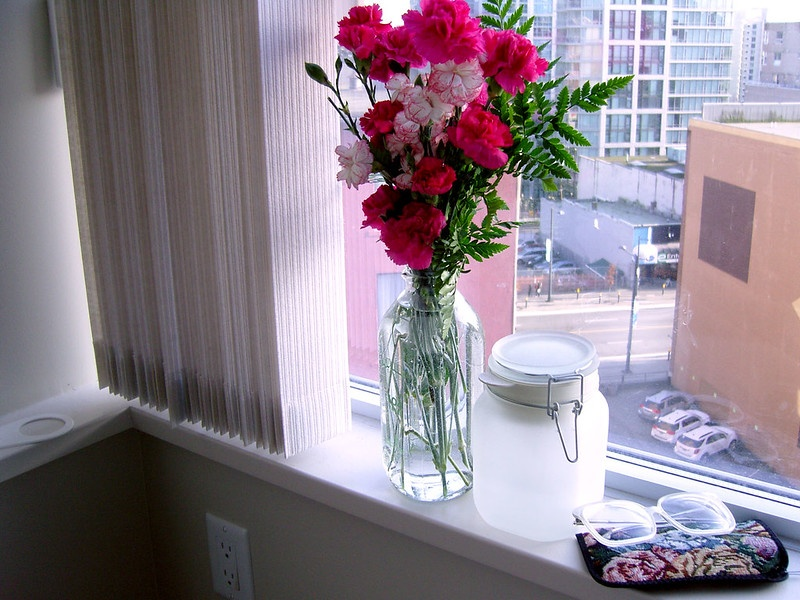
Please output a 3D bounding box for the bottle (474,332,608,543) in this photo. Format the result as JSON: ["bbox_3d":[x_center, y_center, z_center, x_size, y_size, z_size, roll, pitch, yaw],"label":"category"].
[{"bbox_3d":[0.278,0.240,1.174,0.204,0.331,0.218,-7,22,3],"label":"bottle"}]

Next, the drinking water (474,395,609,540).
[{"bbox_3d":[0.284,0.287,1.233,0.256,0.292,0.206,2,8,22],"label":"drinking water"}]

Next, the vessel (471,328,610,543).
[{"bbox_3d":[0.272,0.189,1.282,0.298,0.484,0.308,7,14,34],"label":"vessel"}]
